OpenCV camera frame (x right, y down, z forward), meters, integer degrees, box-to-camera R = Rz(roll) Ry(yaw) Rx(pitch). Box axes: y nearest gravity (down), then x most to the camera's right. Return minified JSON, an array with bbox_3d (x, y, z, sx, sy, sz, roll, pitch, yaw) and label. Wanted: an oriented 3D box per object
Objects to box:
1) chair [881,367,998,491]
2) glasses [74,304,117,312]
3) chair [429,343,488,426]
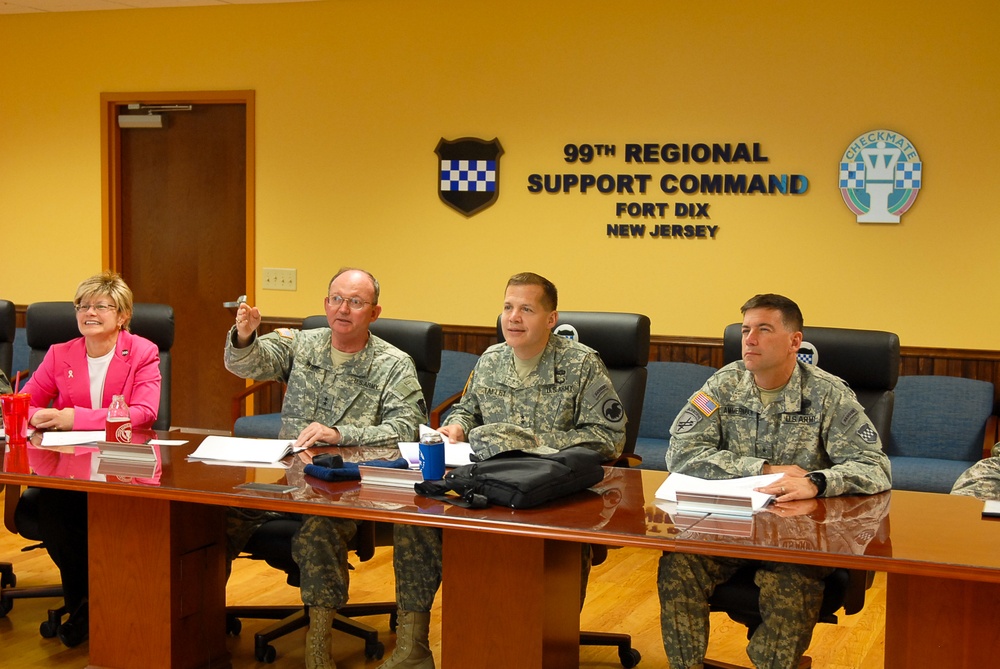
[{"bbox_3d":[2.568,0.525,4.947,0.670,0.861,0.786,1,-2,20],"label":"chair"},{"bbox_3d":[-1.872,-0.118,3.957,0.170,0.037,0.063,1,5,-10],"label":"glasses"},{"bbox_3d":[-0.189,0.320,5.655,0.357,0.605,0.451,8,-8,19],"label":"chair"}]
